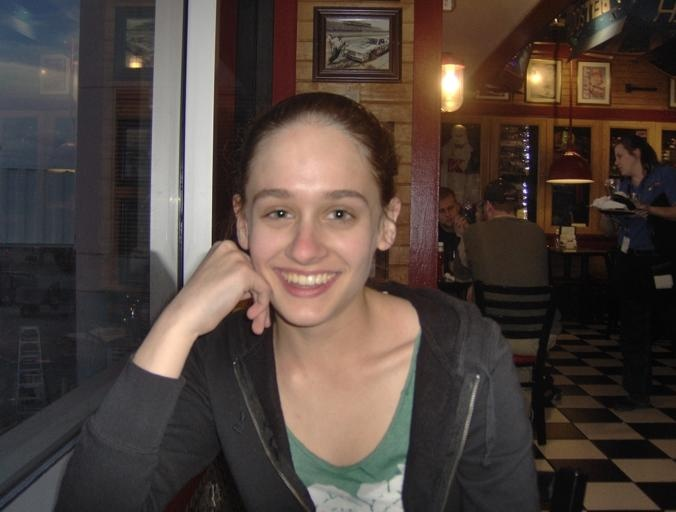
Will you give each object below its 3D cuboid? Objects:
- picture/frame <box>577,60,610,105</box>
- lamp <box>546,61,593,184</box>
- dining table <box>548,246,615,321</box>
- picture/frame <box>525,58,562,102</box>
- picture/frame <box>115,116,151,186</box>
[{"bbox_3d":[3.225,-2.227,7.600,0.503,0.618,0.043,2,4,-12],"label":"picture/frame"},{"bbox_3d":[2.643,-1.587,6.813,0.534,1.529,2.049,3,6,23],"label":"lamp"},{"bbox_3d":[2.923,0.371,7.126,0.888,0.888,0.658,-1,-9,14],"label":"dining table"},{"bbox_3d":[2.541,-2.204,7.415,0.588,0.691,0.053,0,5,-1],"label":"picture/frame"},{"bbox_3d":[-0.663,-0.316,1.909,0.018,0.262,0.355,4,12,-32],"label":"picture/frame"}]
